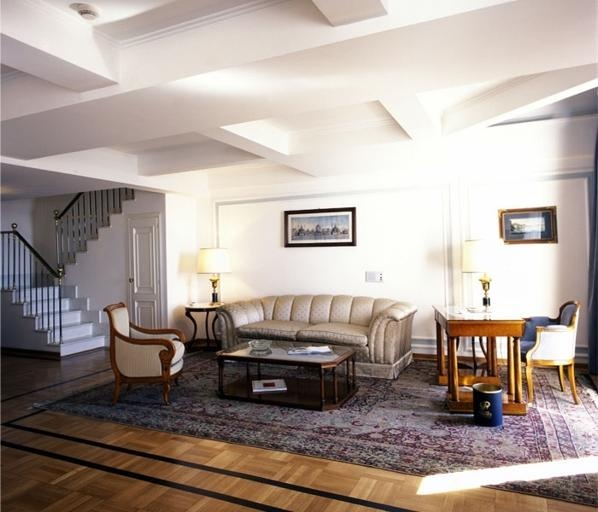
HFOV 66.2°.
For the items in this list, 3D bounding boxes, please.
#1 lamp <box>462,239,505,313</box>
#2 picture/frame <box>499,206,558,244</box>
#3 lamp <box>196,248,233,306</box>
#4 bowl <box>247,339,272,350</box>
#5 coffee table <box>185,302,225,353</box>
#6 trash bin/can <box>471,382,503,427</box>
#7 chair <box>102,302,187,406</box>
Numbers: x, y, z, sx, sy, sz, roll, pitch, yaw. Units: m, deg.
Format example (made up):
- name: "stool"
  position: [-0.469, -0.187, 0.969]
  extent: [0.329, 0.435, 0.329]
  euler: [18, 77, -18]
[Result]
- name: "lamp"
  position: [2.059, 0.228, 5.186]
  extent: [0.456, 0.829, 1.177]
  euler: [-1, 2, 21]
- name: "picture/frame"
  position: [2.767, -0.373, 5.472]
  extent: [0.554, 0.361, 0.043]
  euler: [0, 2, 24]
- name: "lamp"
  position: [-1.291, 0.310, 6.963]
  extent: [0.485, 0.860, 0.694]
  euler: [-3, 3, -9]
- name: "bowl"
  position: [-0.424, 0.915, 4.677]
  extent: [0.175, 0.054, 0.169]
  euler: [0, 0, 0]
- name: "coffee table"
  position: [-1.493, 1.108, 7.030]
  extent: [0.644, 0.604, 0.606]
  euler: [-1, -7, -15]
- name: "trash bin/can"
  position: [1.550, 1.235, 3.782]
  extent: [0.270, 0.248, 0.245]
  euler: [-2, -1, 9]
- name: "chair"
  position: [-1.540, 0.955, 4.696]
  extent: [0.821, 0.785, 0.678]
  euler: [4, 2, 7]
